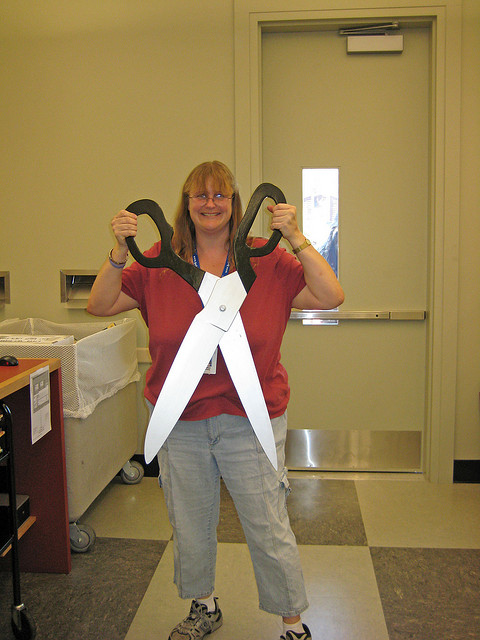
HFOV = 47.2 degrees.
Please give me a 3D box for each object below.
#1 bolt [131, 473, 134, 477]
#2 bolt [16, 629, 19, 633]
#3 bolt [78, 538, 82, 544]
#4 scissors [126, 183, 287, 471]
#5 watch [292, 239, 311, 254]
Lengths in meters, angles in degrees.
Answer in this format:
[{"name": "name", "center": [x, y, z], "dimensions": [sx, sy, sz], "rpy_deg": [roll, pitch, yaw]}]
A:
[{"name": "bolt", "center": [-0.507, 0.725, 2.573], "dimensions": [0.011, 0.015, 0.003], "rpy_deg": [3, 1, -2]}, {"name": "bolt", "center": [-0.601, 0.840, 1.481], "dimensions": [0.005, 0.009, 0.002], "rpy_deg": [6, -11, -5]}, {"name": "bolt", "center": [-0.575, 0.789, 1.965], "dimensions": [0.015, 0.020, 0.004], "rpy_deg": [-2, 5, -31]}, {"name": "scissors", "center": [-0.070, 0.024, 1.217], "dimensions": [0.328, 0.687, 0.013], "rpy_deg": [-5, 34, -8]}, {"name": "watch", "center": [0.135, -0.161, 1.205], "dimensions": [0.030, 0.012, 0.031], "rpy_deg": [-42, -3, 28]}]
